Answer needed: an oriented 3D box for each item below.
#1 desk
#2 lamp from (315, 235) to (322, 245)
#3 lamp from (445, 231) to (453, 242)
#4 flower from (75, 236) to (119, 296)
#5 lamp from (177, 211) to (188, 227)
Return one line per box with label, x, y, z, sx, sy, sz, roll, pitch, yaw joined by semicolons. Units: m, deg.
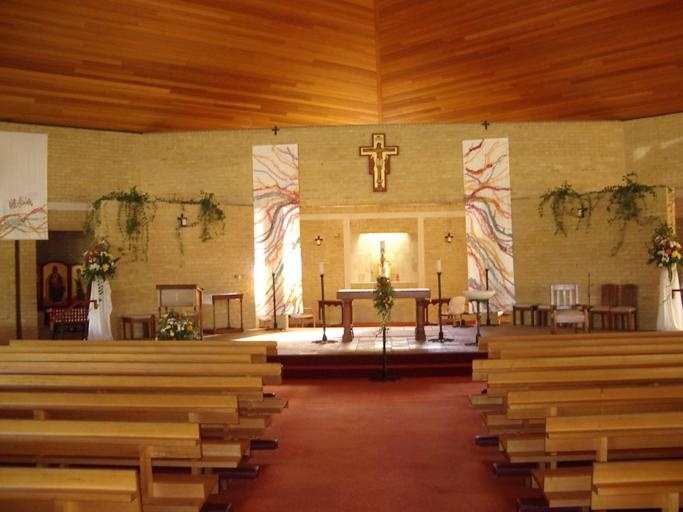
desk;0.787;1.036;12.506;1.621;0.923;0.883;-2;3;1
lamp;-0.519;-0.354;15.617;0.134;0.227;0.166;-2;-2;32
lamp;2.433;-0.417;15.416;0.210;0.237;0.124;-1;-1;8
flower;-4.694;0.120;13.304;0.695;0.894;0.704;0;-2;-19
lamp;-3.345;-0.761;14.392;0.206;0.324;0.113;0;-1;-14
